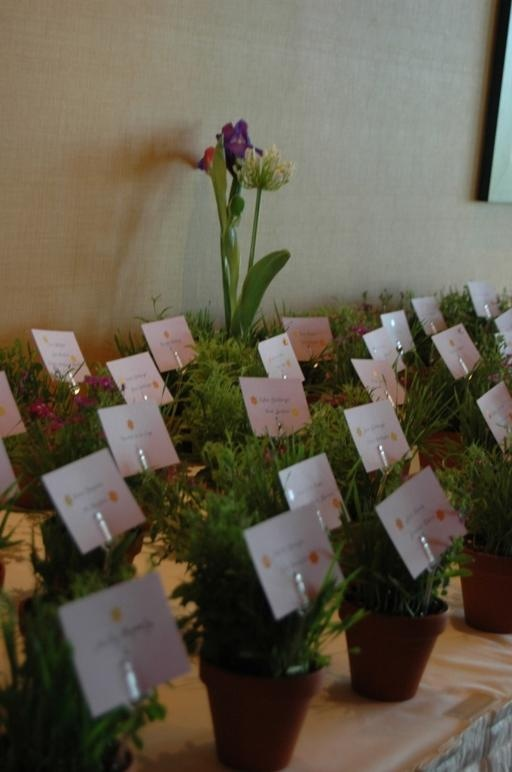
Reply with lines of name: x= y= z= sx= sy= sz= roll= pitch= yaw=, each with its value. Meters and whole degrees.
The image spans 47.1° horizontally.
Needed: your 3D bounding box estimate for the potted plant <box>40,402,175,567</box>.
potted plant: x=-0.175 y=0.101 z=0.613 sx=0.039 sy=0.131 sz=0.178 roll=-9 pitch=7 yaw=20
